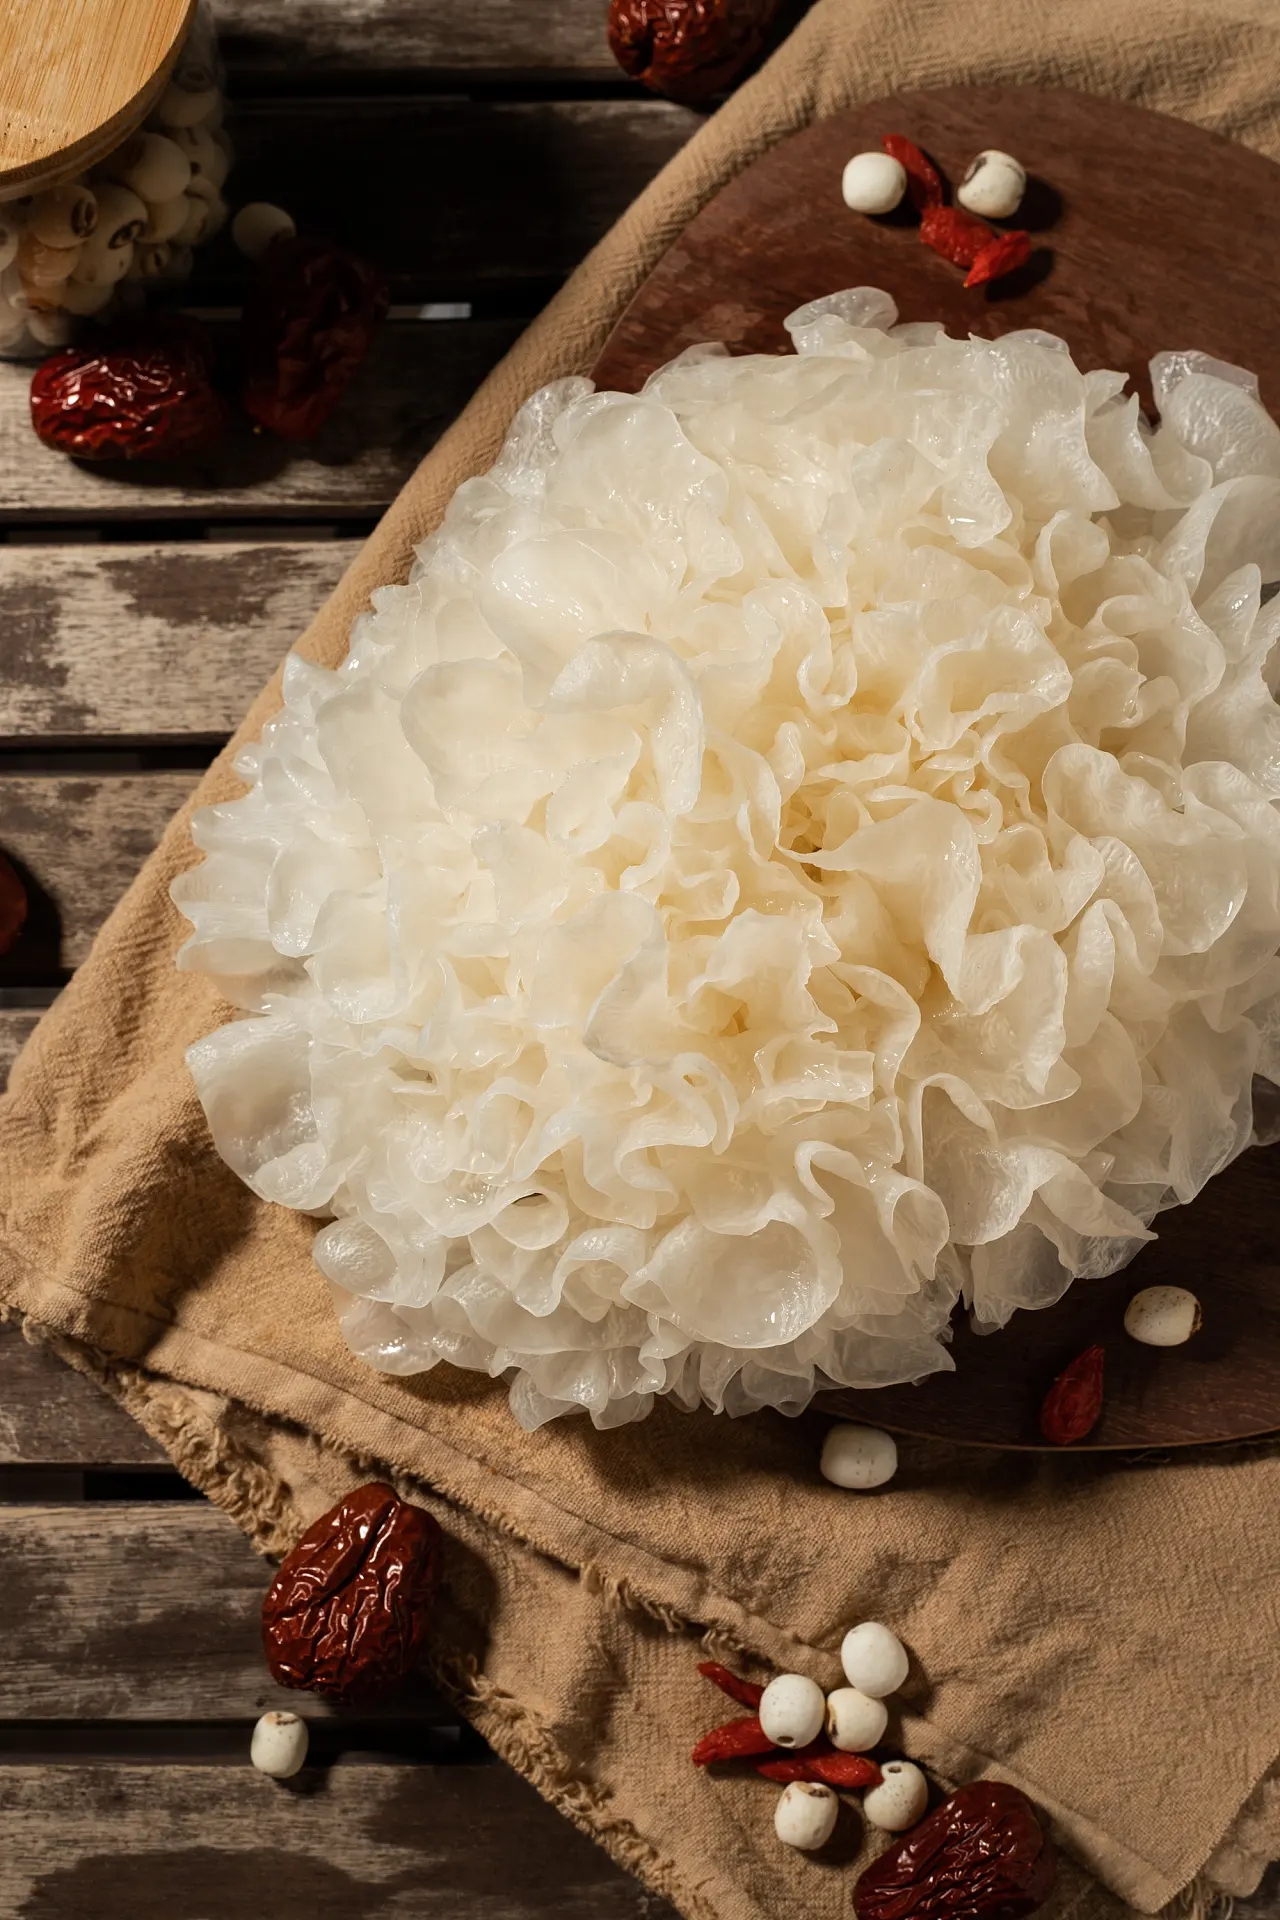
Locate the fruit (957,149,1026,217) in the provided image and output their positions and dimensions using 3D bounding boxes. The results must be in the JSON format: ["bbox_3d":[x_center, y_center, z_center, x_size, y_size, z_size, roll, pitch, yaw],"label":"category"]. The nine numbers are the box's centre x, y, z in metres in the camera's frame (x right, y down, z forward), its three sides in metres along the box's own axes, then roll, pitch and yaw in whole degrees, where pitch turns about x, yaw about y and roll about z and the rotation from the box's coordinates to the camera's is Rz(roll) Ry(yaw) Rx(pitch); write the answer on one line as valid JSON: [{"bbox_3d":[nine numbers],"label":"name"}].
[{"bbox_3d":[0.173,-0.380,1.005,0.030,0.030,0.027,29,101,8],"label":"fruit"}]

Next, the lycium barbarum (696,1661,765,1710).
[{"bbox_3d":[0.048,0.376,1.063,0.048,0.015,0.011,22,82,51],"label":"lycium barbarum"}]

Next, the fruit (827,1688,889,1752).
[{"bbox_3d":[0.109,0.390,1.051,0.031,0.029,0.027,12,50,10],"label":"fruit"}]

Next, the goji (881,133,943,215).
[{"bbox_3d":[0.136,-0.390,1.027,0.031,0.010,0.039,-21,91,-7],"label":"goji"}]

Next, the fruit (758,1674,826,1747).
[{"bbox_3d":[0.077,0.385,1.051,0.034,0.036,0.033,10,50,8],"label":"fruit"}]

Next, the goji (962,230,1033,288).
[{"bbox_3d":[0.175,-0.343,1.008,0.021,0.025,0.035,28,53,21],"label":"goji"}]

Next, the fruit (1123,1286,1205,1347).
[{"bbox_3d":[0.252,0.172,0.990,0.036,0.019,0.027,0,78,11],"label":"fruit"}]

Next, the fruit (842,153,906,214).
[{"bbox_3d":[0.115,-0.384,1.016,0.031,0.026,0.025,10,50,8],"label":"fruit"}]

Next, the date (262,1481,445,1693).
[{"bbox_3d":[-0.145,0.317,1.052,0.087,0.044,0.105,26,77,16],"label":"date"}]

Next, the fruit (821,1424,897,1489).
[{"bbox_3d":[0.110,0.253,1.044,0.043,0.028,0.026,-1,88,-1],"label":"fruit"}]
